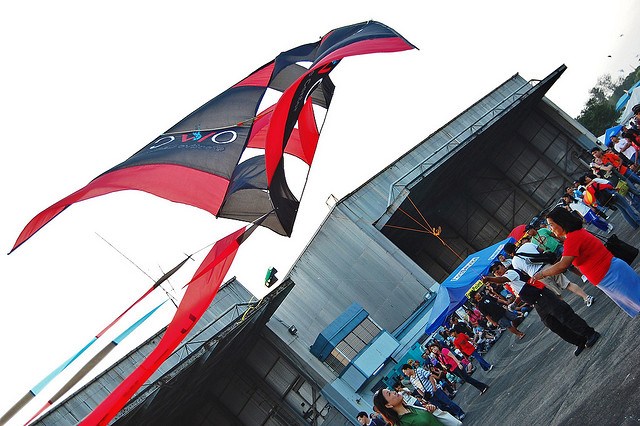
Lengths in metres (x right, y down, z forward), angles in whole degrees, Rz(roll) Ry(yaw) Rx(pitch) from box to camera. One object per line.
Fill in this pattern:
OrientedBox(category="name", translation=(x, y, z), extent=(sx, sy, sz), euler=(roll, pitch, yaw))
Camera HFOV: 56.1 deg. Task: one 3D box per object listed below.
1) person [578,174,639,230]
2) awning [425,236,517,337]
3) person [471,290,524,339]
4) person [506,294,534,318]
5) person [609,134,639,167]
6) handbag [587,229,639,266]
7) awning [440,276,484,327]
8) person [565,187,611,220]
OrientedBox(category="person", translation=(9.539, -0.388, 19.844), extent=(0.719, 1.829, 0.540), euler=(-48, -2, 22))
OrientedBox(category="awning", translation=(4.599, 2.108, 19.313), extent=(3.119, 1.290, 3.071), euler=(-39, -16, -44))
OrientedBox(category="person", translation=(6.306, 3.643, 21.417), extent=(0.990, 1.993, 0.663), euler=(-62, -5, -6))
OrientedBox(category="person", translation=(6.739, 3.157, 20.312), extent=(0.688, 1.100, 0.512), euler=(-101, 19, -68))
OrientedBox(category="person", translation=(10.758, -2.194, 21.269), extent=(0.447, 1.444, 0.490), euler=(-10, -53, -46))
OrientedBox(category="handbag", translation=(8.107, 0.959, 16.613), extent=(0.434, 0.921, 0.107), euler=(-63, 6, -33))
OrientedBox(category="awning", translation=(4.889, 3.054, 20.779), extent=(1.824, 0.795, 1.812), euler=(-54, -8, 10))
OrientedBox(category="person", translation=(9.400, -0.352, 21.154), extent=(0.345, 1.495, 0.807), euler=(-31, -27, -42))
